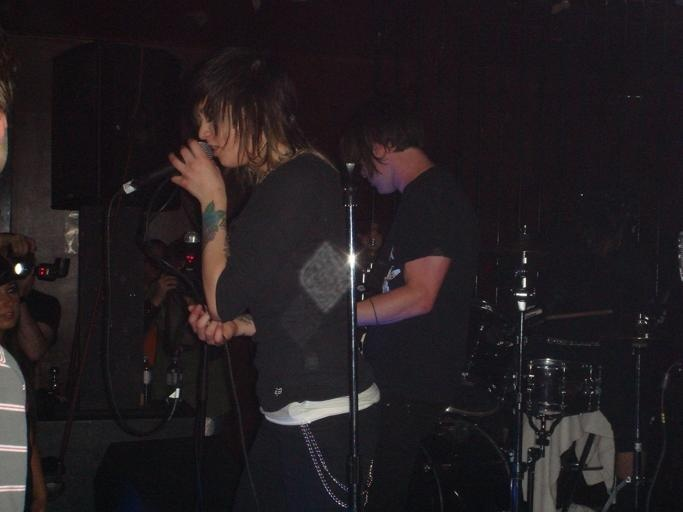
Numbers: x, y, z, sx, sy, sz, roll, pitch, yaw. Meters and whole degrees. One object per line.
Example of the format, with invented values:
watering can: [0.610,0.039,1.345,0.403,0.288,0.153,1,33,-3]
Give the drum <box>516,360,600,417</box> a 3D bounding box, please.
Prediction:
drum: [1.486,0.880,5.123,0.416,0.283,0.420,1,-7,0]

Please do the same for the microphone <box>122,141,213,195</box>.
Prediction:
microphone: [-0.897,-0.443,3.781,0.400,0.111,0.138,-31,32,10]

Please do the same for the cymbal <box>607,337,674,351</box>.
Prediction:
cymbal: [2.231,0.636,5.424,0.550,0.110,0.368,3,-5,-16]
